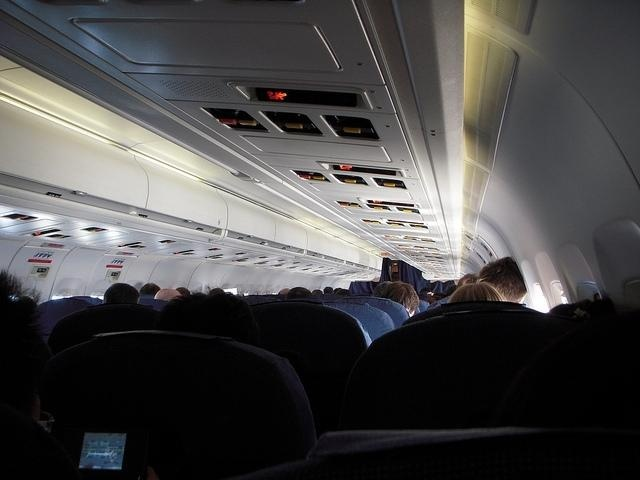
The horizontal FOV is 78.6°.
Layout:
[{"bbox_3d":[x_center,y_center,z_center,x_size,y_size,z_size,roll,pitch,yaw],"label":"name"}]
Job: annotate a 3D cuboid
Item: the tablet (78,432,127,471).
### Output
[{"bbox_3d":[-0.687,0.667,1.234,0.170,0.097,0.005,-8,-23,16],"label":"tablet"}]
